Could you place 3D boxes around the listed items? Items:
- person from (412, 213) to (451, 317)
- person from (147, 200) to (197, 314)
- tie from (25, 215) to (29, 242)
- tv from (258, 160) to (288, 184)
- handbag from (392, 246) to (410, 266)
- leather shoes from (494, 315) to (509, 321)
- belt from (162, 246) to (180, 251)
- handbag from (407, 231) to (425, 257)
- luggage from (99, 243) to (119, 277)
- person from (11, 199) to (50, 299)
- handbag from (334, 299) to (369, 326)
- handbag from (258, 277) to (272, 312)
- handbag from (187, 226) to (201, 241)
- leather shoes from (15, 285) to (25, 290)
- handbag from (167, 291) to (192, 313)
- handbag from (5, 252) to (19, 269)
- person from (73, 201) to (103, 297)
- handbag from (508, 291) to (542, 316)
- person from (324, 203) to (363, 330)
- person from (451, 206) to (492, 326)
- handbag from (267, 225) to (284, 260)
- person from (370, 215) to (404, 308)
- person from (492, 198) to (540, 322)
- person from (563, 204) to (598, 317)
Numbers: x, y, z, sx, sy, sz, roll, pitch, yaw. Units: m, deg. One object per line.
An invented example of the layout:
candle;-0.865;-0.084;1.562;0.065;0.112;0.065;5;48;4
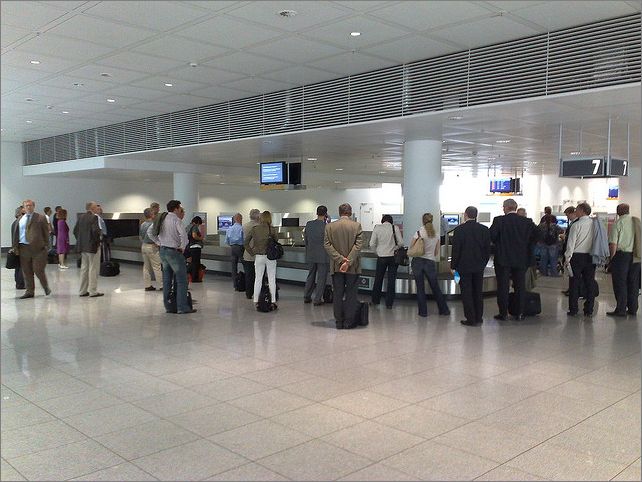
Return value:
person;1.748;0.380;7.515;0.576;1.668;0.691;3;5;38
person;-2.482;0.260;7.724;0.701;1.879;0.437;-1;4;-12
tie;-5.571;-0.202;8.735;0.134;0.489;0.031;2;5;30
tv;-1.316;-1.864;12.733;0.960;0.614;0.245;2;5;31
handbag;1.320;0.234;7.651;0.230;0.375;0.307;-3;9;-40
leather shoes;2.845;1.189;7.249;0.066;0.074;0.184;-5;9;-33
belt;-2.458;0.124;7.615;0.328;0.061;0.106;0;4;-5
handbag;1.563;0.043;7.542;0.245;0.477;0.501;2;0;-10
luggage;-5.770;0.504;12.486;0.544;0.830;0.600;11;5;33
person;-5.578;0.168;8.843;0.631;1.900;0.467;-1;4;-10
handbag;0.449;1.061;6.951;0.298;0.474;0.528;-6;8;-37
handbag;-0.933;0.916;7.834;0.258;0.556;0.260;3;5;36
handbag;-2.834;-0.172;10.271;0.190;0.276;0.305;-16;20;-38
leather shoes;-6.497;0.980;9.955;0.087;0.075;0.121;-4;-5;37
handbag;-2.417;1.013;7.818;0.434;0.394;0.295;-4;6;-20
handbag;-5.796;0.350;8.667;0.209;0.297;0.399;-3;5;-35
person;-4.654;0.162;9.201;0.502;1.900;0.751;-2;5;-27
handbag;3.249;0.995;7.367;0.506;0.414;0.197;0;1;-22
person;0.324;0.361;6.668;0.520;1.786;0.411;0;4;1
person;2.262;0.360;6.979;0.464;1.772;0.476;4;5;41
handbag;-0.784;0.034;7.766;0.243;0.583;0.212;-1;4;-7
person;1.132;0.356;8.038;0.550;1.641;0.890;1;4;8
person;2.976;0.294;7.138;0.706;1.893;0.607;1;4;14
person;4.171;0.316;7.371;0.438;1.835;0.773;2;5;30
